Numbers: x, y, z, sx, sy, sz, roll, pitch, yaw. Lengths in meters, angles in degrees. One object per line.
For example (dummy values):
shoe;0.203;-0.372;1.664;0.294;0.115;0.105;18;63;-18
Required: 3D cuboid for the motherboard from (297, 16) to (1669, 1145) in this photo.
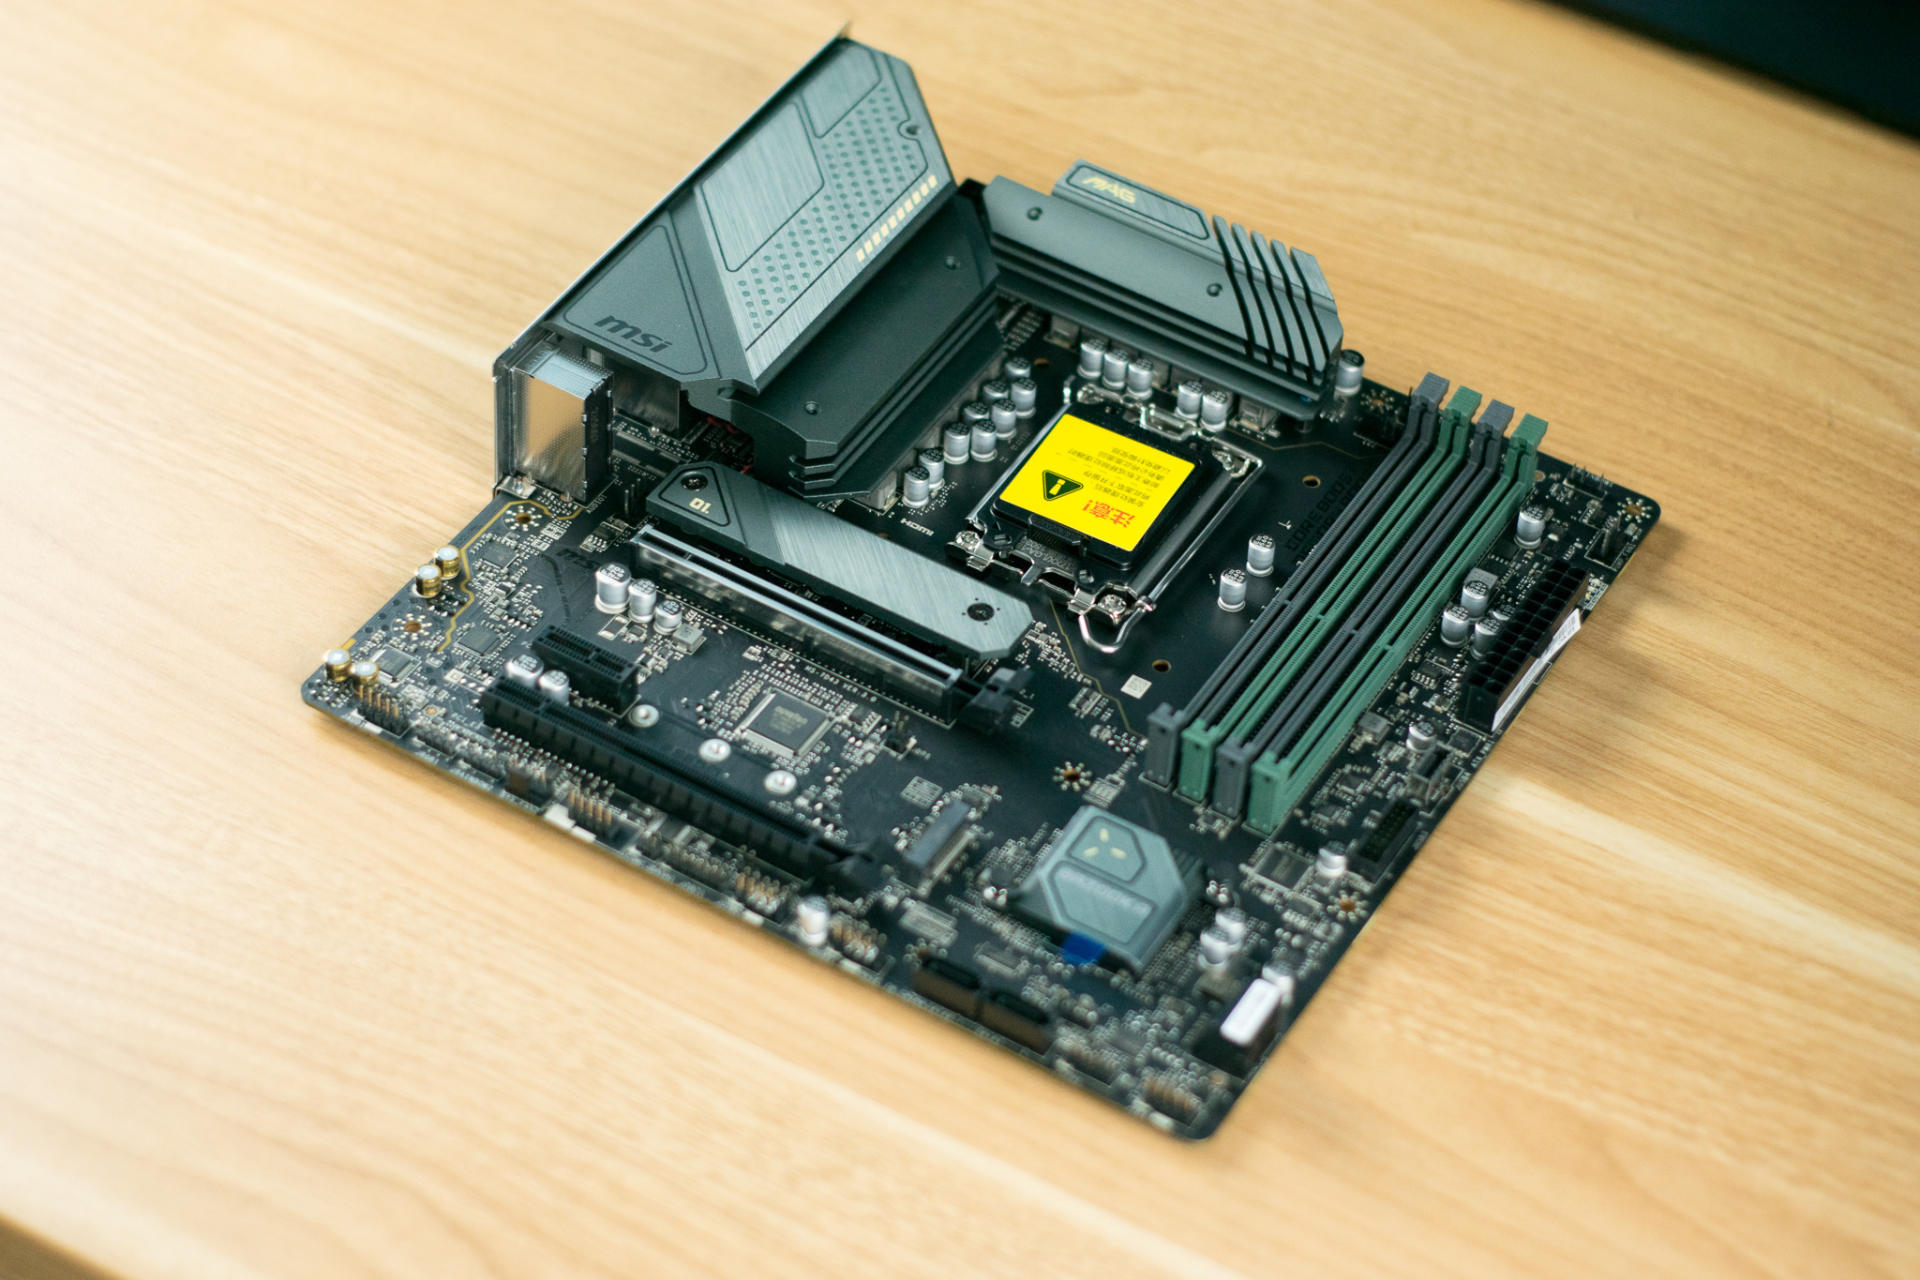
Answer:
motherboard;0.093;-0.080;12.205;6.088;6.251;1.420;33;-32;15
